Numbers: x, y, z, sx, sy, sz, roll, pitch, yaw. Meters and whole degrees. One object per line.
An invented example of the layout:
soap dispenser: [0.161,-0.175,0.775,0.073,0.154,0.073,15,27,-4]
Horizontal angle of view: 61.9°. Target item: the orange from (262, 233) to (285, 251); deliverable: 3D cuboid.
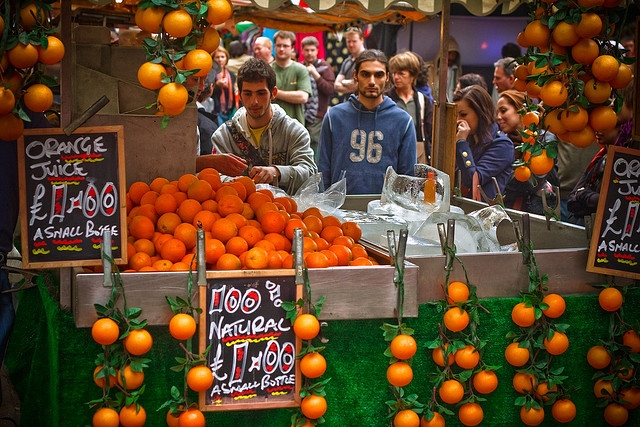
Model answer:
orange: [-0.223,0.128,2.583,0.080,0.100,0.082,8,9,38]

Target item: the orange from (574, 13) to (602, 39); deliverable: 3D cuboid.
orange: [1.199,-0.841,2.439,0.103,0.127,0.106,-1,-6,1]

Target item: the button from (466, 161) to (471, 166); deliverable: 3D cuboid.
button: [1.376,-0.467,4.973,0.038,0.041,0.011,3,-14,8]

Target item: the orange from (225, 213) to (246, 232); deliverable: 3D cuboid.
orange: [-0.400,0.031,2.588,0.087,0.079,0.076,-12,38,17]

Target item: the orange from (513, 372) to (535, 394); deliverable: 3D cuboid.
orange: [0.941,0.783,2.487,0.094,0.116,0.093,1,6,-5]

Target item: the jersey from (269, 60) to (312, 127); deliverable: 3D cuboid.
jersey: [-0.470,-1.572,7.158,0.622,0.894,0.438,-7,38,-11]

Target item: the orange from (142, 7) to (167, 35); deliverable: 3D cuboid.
orange: [-0.677,-0.778,2.168,0.085,0.108,0.088,5,15,-9]

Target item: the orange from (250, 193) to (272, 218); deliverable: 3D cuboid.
orange: [-0.306,-0.041,2.854,0.104,0.133,0.107,4,-6,-2]

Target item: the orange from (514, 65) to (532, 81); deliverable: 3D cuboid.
orange: [1.037,-0.730,2.743,0.032,0.084,0.136,0,2,-6]

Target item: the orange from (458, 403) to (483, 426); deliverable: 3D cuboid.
orange: [0.679,0.908,2.449,0.094,0.137,0.097,1,5,1]

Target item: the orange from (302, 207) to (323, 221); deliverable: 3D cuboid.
orange: [-0.042,0.002,2.968,0.072,0.089,0.074,11,-6,-14]

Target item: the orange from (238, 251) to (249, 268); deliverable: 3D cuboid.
orange: [-0.348,0.207,2.391,0.057,0.073,0.059,1,2,5]

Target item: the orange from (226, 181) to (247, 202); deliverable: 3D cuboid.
orange: [-0.429,-0.112,2.822,0.087,0.110,0.090,-2,3,28]

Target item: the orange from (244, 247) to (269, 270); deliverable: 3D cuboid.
orange: [-0.281,0.200,2.388,0.083,0.095,0.103,0,-7,13]

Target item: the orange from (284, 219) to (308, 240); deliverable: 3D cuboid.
orange: [-0.095,0.078,2.690,0.180,0.097,0.121,-2,3,-43]

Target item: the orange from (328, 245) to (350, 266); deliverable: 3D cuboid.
orange: [0.102,0.204,2.551,0.086,0.107,0.087,2,-5,-44]

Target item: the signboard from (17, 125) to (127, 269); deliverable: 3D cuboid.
signboard: [-1.071,-0.067,2.296,0.561,0.784,0.030,-2,2,-8]

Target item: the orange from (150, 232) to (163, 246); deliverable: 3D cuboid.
orange: [-0.781,0.118,2.538,0.045,0.047,0.046,2,1,-9]

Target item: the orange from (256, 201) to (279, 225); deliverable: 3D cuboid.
orange: [-0.270,-0.010,2.782,0.100,0.124,0.100,4,15,10]

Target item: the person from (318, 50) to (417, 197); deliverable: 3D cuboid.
person: [0.432,-0.572,4.925,0.837,1.768,0.512,4,24,7]

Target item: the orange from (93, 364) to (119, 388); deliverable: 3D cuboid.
orange: [-0.900,0.685,2.244,0.106,0.116,0.073,0,2,-2]

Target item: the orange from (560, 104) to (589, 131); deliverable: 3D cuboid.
orange: [1.187,-0.447,2.495,0.110,0.123,0.117,10,-10,26]

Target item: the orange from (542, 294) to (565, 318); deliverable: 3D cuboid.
orange: [1.084,0.427,2.472,0.097,0.119,0.100,-12,-10,29]

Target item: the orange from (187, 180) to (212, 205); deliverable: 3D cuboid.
orange: [-0.608,-0.112,2.755,0.106,0.123,0.110,-8,4,12]

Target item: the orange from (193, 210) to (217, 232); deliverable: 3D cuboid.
orange: [-0.550,0.037,2.545,0.105,0.091,0.093,-16,25,-42]

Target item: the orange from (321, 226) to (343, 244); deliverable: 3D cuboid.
orange: [0.066,0.108,2.853,0.082,0.086,0.102,-11,-31,-11]

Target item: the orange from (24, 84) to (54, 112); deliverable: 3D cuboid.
orange: [-1.121,-0.463,2.134,0.096,0.107,0.099,1,0,8]

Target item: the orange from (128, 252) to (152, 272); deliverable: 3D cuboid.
orange: [-0.809,0.215,2.408,0.079,0.081,0.075,28,-22,-13]

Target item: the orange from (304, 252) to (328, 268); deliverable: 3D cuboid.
orange: [-0.016,0.212,2.405,0.067,0.068,0.079,18,23,34]

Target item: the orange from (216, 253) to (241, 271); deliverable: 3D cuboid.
orange: [-0.398,0.217,2.337,0.102,0.067,0.113,0,2,-10]

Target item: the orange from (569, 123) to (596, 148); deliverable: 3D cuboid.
orange: [1.229,-0.360,2.522,0.109,0.133,0.110,-14,12,-16]

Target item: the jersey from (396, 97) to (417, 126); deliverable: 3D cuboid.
jersey: [1.045,-1.225,6.343,0.265,0.383,0.203,-1,7,-2]

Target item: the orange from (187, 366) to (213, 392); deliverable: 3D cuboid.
orange: [-0.497,0.683,2.274,0.093,0.136,0.097,-3,12,9]

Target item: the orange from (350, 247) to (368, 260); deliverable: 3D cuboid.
orange: [0.190,0.195,2.641,0.056,0.072,0.058,-3,5,-2]

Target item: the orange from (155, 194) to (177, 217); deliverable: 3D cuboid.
orange: [-0.751,-0.046,2.616,0.092,0.117,0.096,0,17,-9]

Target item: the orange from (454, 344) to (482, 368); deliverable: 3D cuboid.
orange: [0.666,0.645,2.414,0.105,0.113,0.108,3,-18,5]

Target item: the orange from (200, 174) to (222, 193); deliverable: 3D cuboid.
orange: [-0.569,-0.156,2.813,0.089,0.111,0.089,-7,4,-29]

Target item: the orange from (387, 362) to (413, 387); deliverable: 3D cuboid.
orange: [0.350,0.704,2.346,0.101,0.106,0.099,-1,0,2]

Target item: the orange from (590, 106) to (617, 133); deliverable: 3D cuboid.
orange: [1.304,-0.435,2.524,0.111,0.136,0.113,-9,0,-16]

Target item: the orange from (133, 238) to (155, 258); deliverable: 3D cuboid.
orange: [-0.813,0.154,2.482,0.078,0.079,0.093,-37,-21,9]

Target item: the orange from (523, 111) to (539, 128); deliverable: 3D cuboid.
orange: [1.056,-0.469,2.707,0.073,0.092,0.072,-5,1,4]

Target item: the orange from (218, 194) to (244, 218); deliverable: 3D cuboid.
orange: [-0.444,-0.038,2.666,0.128,0.108,0.106,0,2,-11]

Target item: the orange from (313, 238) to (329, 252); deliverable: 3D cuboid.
orange: [0.004,0.153,2.648,0.056,0.069,0.056,-2,6,-28]

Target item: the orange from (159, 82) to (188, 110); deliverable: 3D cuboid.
orange: [-0.606,-0.488,2.208,0.126,0.133,0.129,-7,19,-32]
